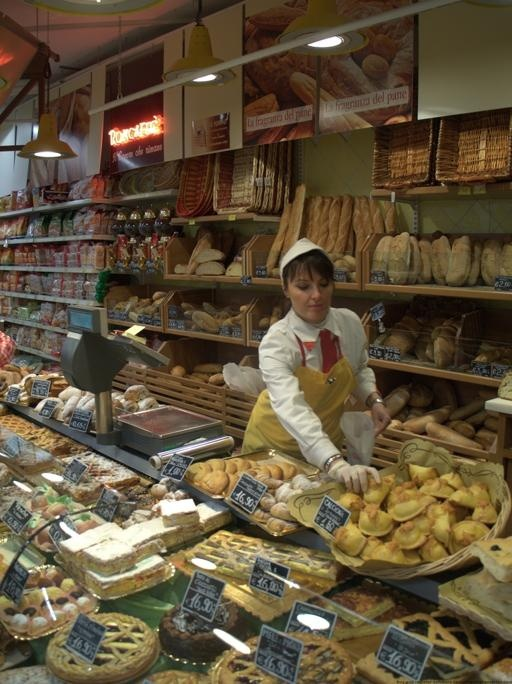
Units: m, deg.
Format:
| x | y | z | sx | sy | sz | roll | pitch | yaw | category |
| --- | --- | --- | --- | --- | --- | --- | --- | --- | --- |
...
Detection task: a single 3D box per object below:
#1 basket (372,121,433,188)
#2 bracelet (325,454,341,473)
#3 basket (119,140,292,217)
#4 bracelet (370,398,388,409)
| x | y | z | sx | sy | sz | roll | pitch | yaw | category |
| --- | --- | --- | --- | --- | --- | --- | --- | --- | --- |
| 0.825 | -1.048 | 2.659 | 0.165 | 0.396 | 0.363 | 2 | 1 | -28 | basket |
| 0.208 | 0.328 | 1.291 | 0.035 | 0.021 | 0.036 | -32 | -17 | -25 | bracelet |
| -0.208 | -1.278 | 3.816 | 0.668 | 0.307 | 0.954 | -14 | 15 | -39 | basket |
| 0.538 | 0.260 | 2.072 | 0.038 | 0.054 | 0.057 | -37 | 2 | -29 | bracelet |
